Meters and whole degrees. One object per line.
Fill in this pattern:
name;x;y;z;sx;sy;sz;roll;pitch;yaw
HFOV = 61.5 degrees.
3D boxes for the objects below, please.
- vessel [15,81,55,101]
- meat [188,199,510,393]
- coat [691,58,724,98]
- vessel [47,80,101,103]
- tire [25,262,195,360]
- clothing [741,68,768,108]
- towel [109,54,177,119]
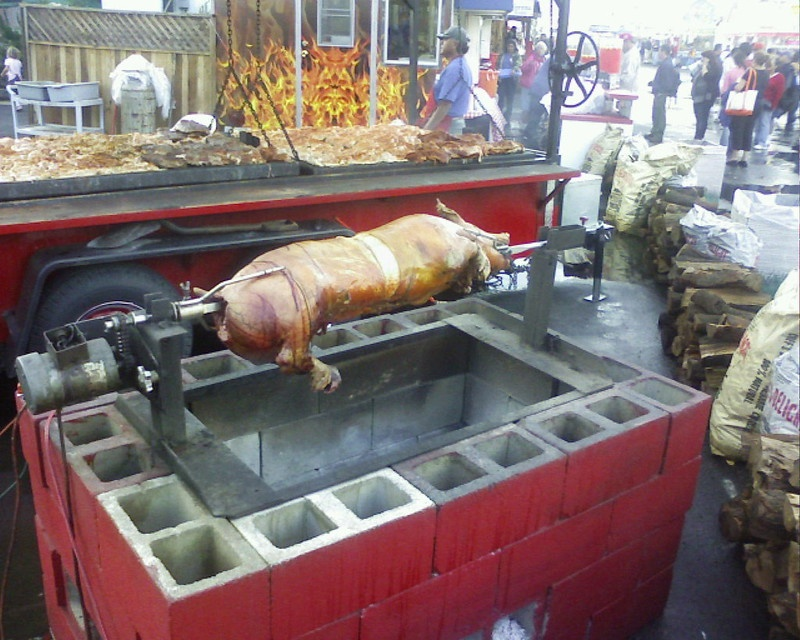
vessel;-5.761;-3.687;10.691;0.410;0.167;0.484;7;25;9
meat;-0.103;-0.161;3.428;1.830;0.531;0.658;-21;45;-33
coat;7.028;-5.455;15.393;0.583;0.881;0.861;7;20;21
vessel;-5.254;-3.631;10.759;0.580;0.167;0.518;-4;24;-3
tire;-2.218;-0.185;5.278;1.105;0.932;1.012;-2;8;-18
clothing;6.959;-4.500;13.245;0.395;0.798;0.734;10;22;28
towel;-4.136;-3.747;10.988;1.129;0.970;0.490;-4;-21;-22
